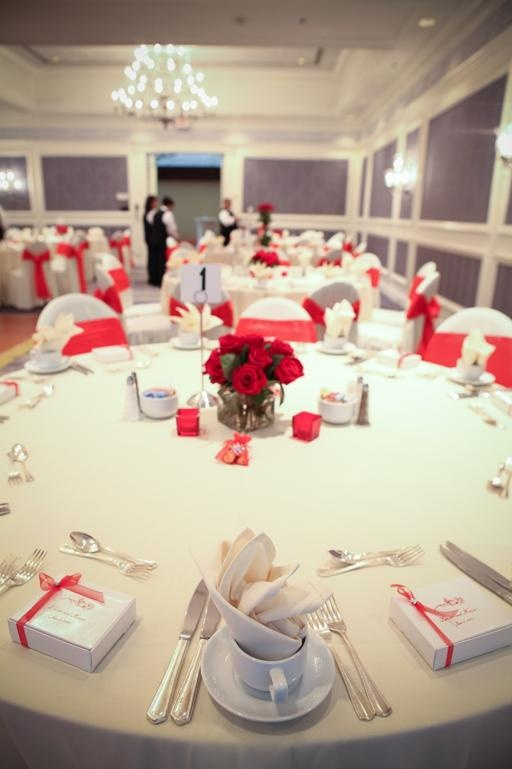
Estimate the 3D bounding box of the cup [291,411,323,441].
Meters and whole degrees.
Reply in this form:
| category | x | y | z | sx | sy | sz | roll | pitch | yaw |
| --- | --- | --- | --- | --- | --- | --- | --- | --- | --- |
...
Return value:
| category | x | y | z | sx | sy | sz | roll | pitch | yaw |
| --- | --- | --- | --- | --- | --- | --- | --- | --- | --- |
| cup | 0.115 | 0.096 | 1.239 | 0.067 | 0.063 | 0.065 | 5 | 23 | -2 |

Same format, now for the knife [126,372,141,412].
| category | x | y | z | sx | sy | sz | roll | pitch | yaw |
| --- | --- | --- | --- | --- | --- | --- | --- | --- | --- |
| knife | -0.313 | 0.022 | 1.356 | 0.034 | 0.138 | 0.032 | -5 | 42 | -7 |

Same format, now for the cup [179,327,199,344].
| category | x | y | z | sx | sy | sz | roll | pitch | yaw |
| --- | --- | --- | --- | --- | --- | --- | --- | --- | --- |
| cup | -0.258 | -0.192 | 2.037 | 0.063 | 0.044 | 0.060 | 4 | 20 | -1 |

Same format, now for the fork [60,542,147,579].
| category | x | y | z | sx | sy | sz | roll | pitch | yaw |
| --- | --- | --- | --- | --- | --- | --- | --- | --- | --- |
| fork | -0.233 | 0.250 | 0.801 | 0.168 | 0.013 | 0.045 | 4 | 22 | 35 |

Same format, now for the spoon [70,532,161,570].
| category | x | y | z | sx | sy | sz | roll | pitch | yaw |
| --- | --- | --- | --- | --- | --- | --- | --- | --- | --- |
| spoon | -0.215 | 0.255 | 0.804 | 0.165 | 0.028 | 0.049 | 10 | 22 | 35 |

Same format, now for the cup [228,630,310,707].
| category | x | y | z | sx | sy | sz | roll | pitch | yaw |
| --- | --- | --- | --- | --- | --- | --- | --- | --- | --- |
| cup | 0.017 | 0.284 | 0.563 | 0.057 | 0.041 | 0.083 | 1 | 20 | 0 |

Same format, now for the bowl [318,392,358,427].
| category | x | y | z | sx | sy | sz | roll | pitch | yaw |
| --- | --- | --- | --- | --- | --- | --- | --- | --- | --- |
| bowl | 0.200 | 0.060 | 1.333 | 0.090 | 0.064 | 0.082 | -1 | 13 | 0 |

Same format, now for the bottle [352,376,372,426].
| category | x | y | z | sx | sy | sz | roll | pitch | yaw |
| --- | --- | --- | --- | --- | --- | --- | --- | --- | --- |
| bottle | 0.269 | 0.046 | 1.373 | 0.055 | 0.153 | 0.050 | -2 | 41 | 2 |

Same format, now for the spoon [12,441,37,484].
| category | x | y | z | sx | sy | sz | roll | pitch | yaw |
| --- | --- | --- | --- | --- | --- | --- | --- | --- | --- |
| spoon | -0.467 | 0.155 | 1.075 | 0.039 | 0.036 | 0.112 | -9 | 29 | -22 |

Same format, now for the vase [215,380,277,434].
| category | x | y | z | sx | sy | sz | roll | pitch | yaw |
| --- | --- | --- | --- | --- | --- | --- | --- | --- | --- |
| vase | -0.025 | 0.059 | 1.278 | 0.125 | 0.120 | 0.117 | 1 | 23 | -7 |

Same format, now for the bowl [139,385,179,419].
| category | x | y | z | sx | sy | sz | roll | pitch | yaw |
| --- | --- | --- | --- | --- | --- | --- | --- | --- | --- |
| bowl | -0.249 | 0.037 | 1.364 | 0.081 | 0.059 | 0.080 | 3 | 11 | 0 |

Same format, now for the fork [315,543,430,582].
| category | x | y | z | sx | sy | sz | roll | pitch | yaw |
| --- | --- | --- | --- | --- | --- | --- | --- | --- | --- |
| fork | 0.168 | 0.279 | 0.811 | 0.185 | 0.027 | 0.053 | -5 | 25 | 0 |

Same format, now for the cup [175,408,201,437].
| category | x | y | z | sx | sy | sz | roll | pitch | yaw |
| --- | --- | --- | --- | --- | --- | --- | --- | --- | --- |
| cup | -0.161 | 0.083 | 1.250 | 0.061 | 0.058 | 0.060 | 3 | 13 | -1 |

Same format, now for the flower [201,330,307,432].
| category | x | y | z | sx | sy | sz | roll | pitch | yaw |
| --- | --- | --- | --- | --- | --- | --- | --- | --- | --- |
| flower | 0.008 | -0.016 | 1.296 | 0.243 | 0.232 | 0.236 | 7 | 33 | 7 |

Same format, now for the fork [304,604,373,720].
| category | x | y | z | sx | sy | sz | roll | pitch | yaw |
| --- | --- | --- | --- | --- | --- | --- | --- | --- | --- |
| fork | 0.083 | 0.314 | 0.665 | 0.027 | 0.019 | 0.216 | 3 | 22 | -18 |
